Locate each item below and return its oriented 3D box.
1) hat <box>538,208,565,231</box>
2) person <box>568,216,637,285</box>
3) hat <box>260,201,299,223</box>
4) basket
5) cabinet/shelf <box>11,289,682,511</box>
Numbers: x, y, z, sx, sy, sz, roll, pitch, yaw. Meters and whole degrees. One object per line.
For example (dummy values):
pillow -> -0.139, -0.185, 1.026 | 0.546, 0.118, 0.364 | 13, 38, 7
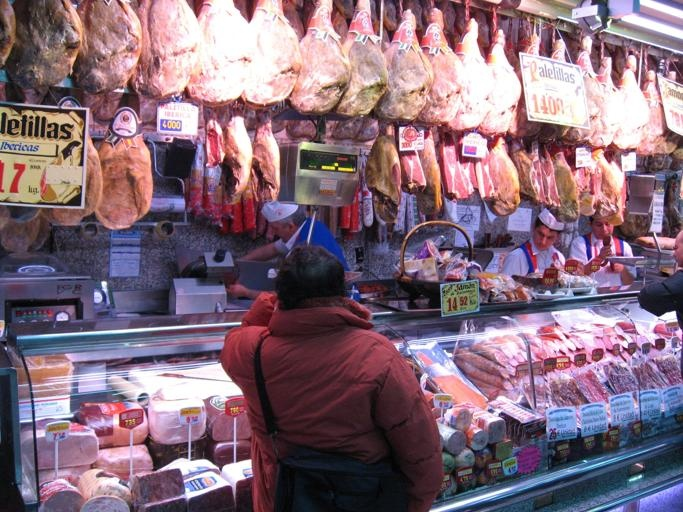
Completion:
hat -> 1.783, -0.311, 4.703 | 0.188, 0.202, 0.381 | -3, 0, 20
person -> 2.384, -0.052, 5.032 | 0.543, 0.681, 0.876 | -3, -1, 24
hat -> -0.489, -0.333, 4.194 | 0.227, 0.165, 0.116 | -16, -23, 24
basket -> 0.524, 0.031, 3.038 | 0.421, 0.440, 0.398 | -3, 8, -15
cabinet/shelf -> 0.176, 0.711, 3.273 | 2.727, 0.929, 0.718 | 1, -5, -29
